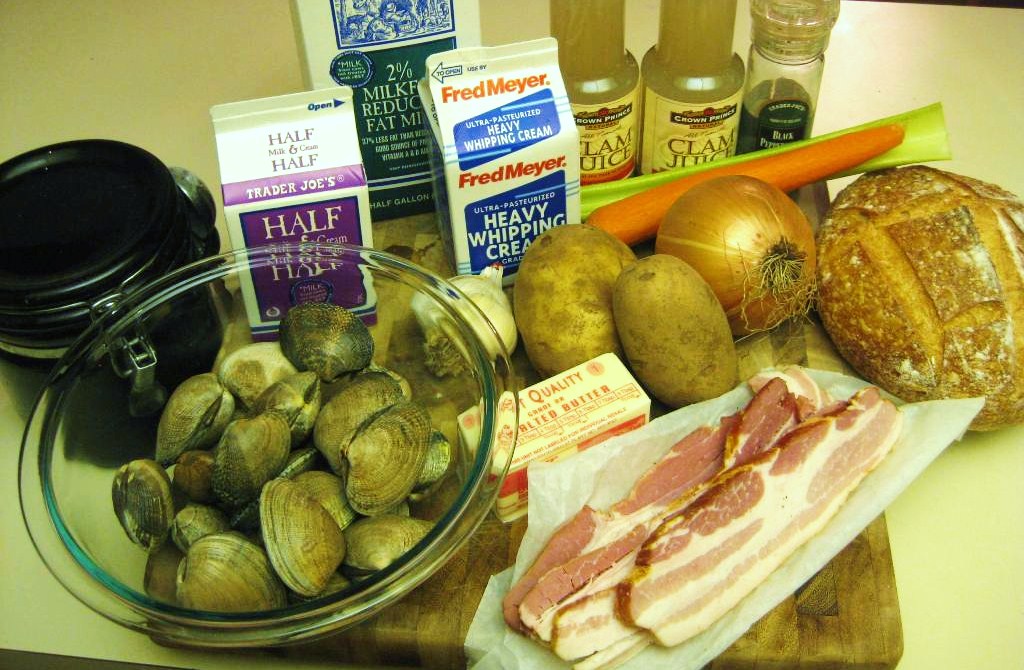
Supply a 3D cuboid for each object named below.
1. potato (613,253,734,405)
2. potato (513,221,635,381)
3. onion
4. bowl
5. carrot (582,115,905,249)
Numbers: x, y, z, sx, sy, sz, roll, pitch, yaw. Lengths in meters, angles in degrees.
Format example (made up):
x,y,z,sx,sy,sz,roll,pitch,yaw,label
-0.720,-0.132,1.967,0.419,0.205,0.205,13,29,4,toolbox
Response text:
x,y,z,sx,sy,sz,roll,pitch,yaw,label
0.264,-0.008,1.411,0.166,0.248,0.143,-26,6,-9,potato
0.110,-0.042,1.392,0.189,0.248,0.136,2,-5,-10,potato
0.411,-0.135,1.525,0.253,0.252,0.252,-3,35,-38,onion
-0.415,0.223,1.433,0.751,0.622,0.562,-11,38,-13,bowl
0.427,-0.275,1.543,0.500,0.074,0.075,-23,29,-2,carrot
